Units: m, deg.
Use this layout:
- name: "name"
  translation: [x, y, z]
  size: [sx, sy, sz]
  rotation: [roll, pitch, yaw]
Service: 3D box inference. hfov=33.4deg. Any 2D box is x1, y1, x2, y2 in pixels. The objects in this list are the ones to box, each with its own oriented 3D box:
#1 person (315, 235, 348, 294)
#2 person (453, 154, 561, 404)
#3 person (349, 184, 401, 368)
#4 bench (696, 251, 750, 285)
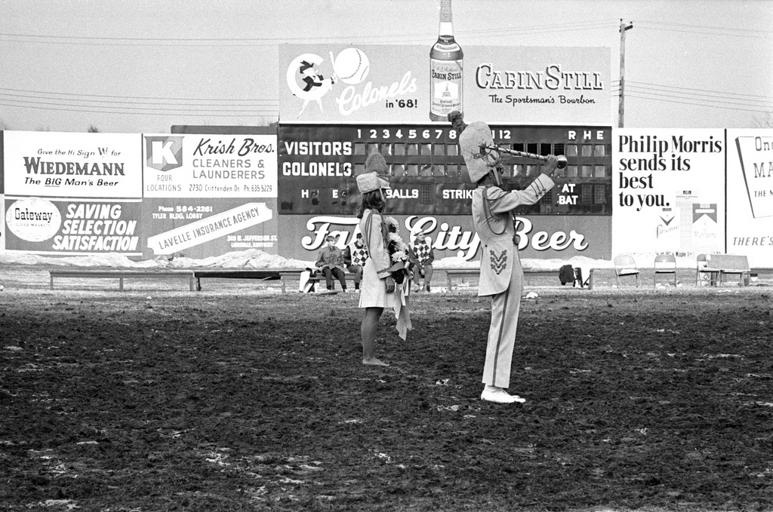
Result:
- name: "person"
  translation: [-1.499, 0.221, 35.767]
  size: [0.862, 1.232, 1.815]
  rotation: [2, 1, -2]
- name: "person"
  translation: [1.880, 0.377, 20.195]
  size: [0.834, 3.292, 0.885]
  rotation: [2, 1, -35]
- name: "person"
  translation: [-0.162, 0.249, 21.889]
  size: [0.780, 2.612, 0.789]
  rotation: [2, 1, -2]
- name: "bench"
  translation: [10.176, 0.362, 38.669]
  size: [1.560, 0.983, 1.123]
  rotation: [0, -5, -3]
